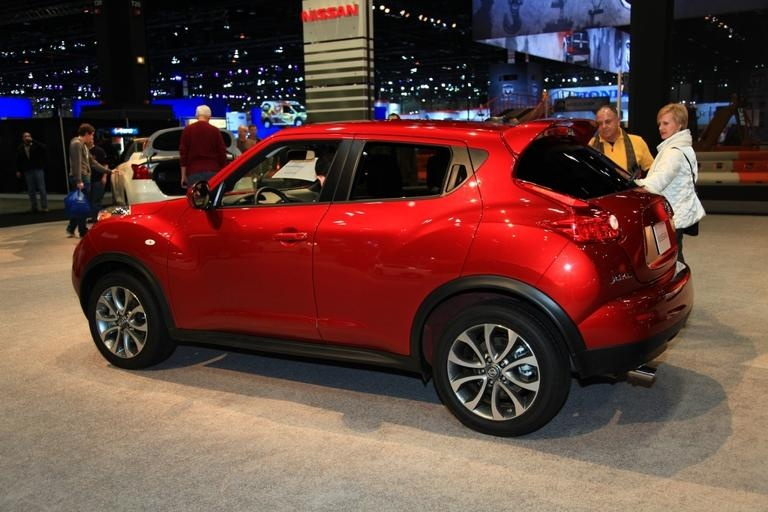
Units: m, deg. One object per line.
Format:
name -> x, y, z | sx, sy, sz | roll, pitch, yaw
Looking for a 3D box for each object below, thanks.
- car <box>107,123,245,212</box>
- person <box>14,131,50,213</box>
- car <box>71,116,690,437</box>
car -> -5.347, -2.122, 11.442 | 2.008, 1.372, 3.293 | -5, 7, -24
person -> -12.198, -2.835, 16.983 | 0.814, 2.612, 1.459 | -10, 16, -32
car -> -0.189, -0.106, 4.775 | 4.755, 1.851, 2.532 | 4, 9, 19
